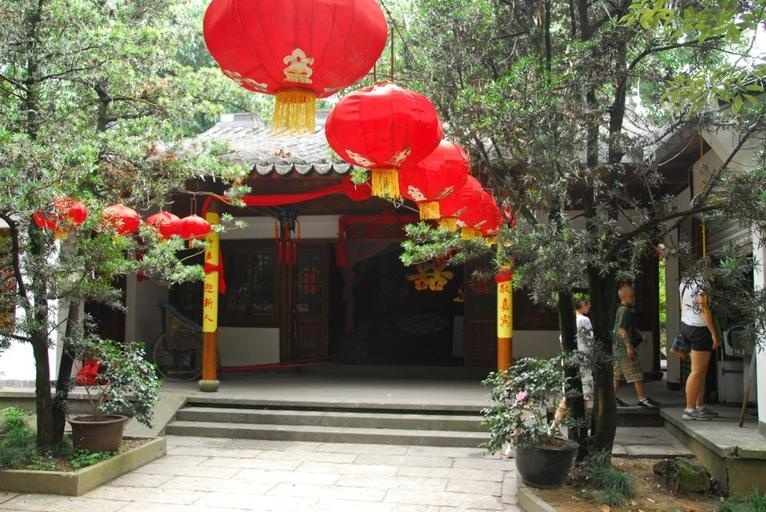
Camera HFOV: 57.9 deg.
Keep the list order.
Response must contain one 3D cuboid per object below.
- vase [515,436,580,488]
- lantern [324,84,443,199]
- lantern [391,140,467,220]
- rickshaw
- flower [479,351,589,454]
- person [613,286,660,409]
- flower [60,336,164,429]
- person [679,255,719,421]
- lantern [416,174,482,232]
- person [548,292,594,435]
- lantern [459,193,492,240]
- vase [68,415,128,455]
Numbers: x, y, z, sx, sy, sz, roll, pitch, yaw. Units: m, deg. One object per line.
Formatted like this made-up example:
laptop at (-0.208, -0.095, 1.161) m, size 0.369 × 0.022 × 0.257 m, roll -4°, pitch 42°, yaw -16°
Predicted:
vase at (1.756, 2.218, 7.390) m, size 0.665 × 0.545 × 0.449 m, roll -2°, pitch -8°, yaw 10°
lantern at (-0.061, -1.028, 6.377) m, size 1.010 × 1.043 × 0.985 m, roll 0°, pitch -9°, yaw -9°
lantern at (0.414, -0.731, 6.940) m, size 0.769 × 0.773 × 0.697 m, roll -2°, pitch -1°, yaw 1°
rickshaw at (-2.901, 1.518, 12.437) m, size 2.727 × 1.485 × 1.930 m, roll -2°, pitch -3°, yaw 11°
flower at (1.655, 1.619, 7.563) m, size 1.050 × 1.076 × 0.594 m, roll -1°, pitch -8°, yaw 4°
person at (3.476, 1.275, 9.639) m, size 0.548 × 1.654 × 0.616 m, roll 1°, pitch -4°, yaw -15°
flower at (-3.526, 1.674, 8.837) m, size 0.933 × 1.285 × 1.299 m, roll 2°, pitch 9°, yaw -23°
person at (4.066, 1.049, 8.849) m, size 0.499 × 2.030 × 0.669 m, roll 3°, pitch -13°, yaw 18°
lantern at (0.707, -0.539, 7.363) m, size 0.586 × 0.638 × 0.583 m, roll -1°, pitch 1°, yaw 0°
person at (2.451, 1.150, 8.733) m, size 0.681 × 2.071 × 0.633 m, roll 0°, pitch -6°, yaw -2°
lantern at (0.993, -0.395, 7.423) m, size 0.478 × 0.479 × 0.389 m, roll -1°, pitch 2°, yaw -21°
vase at (-3.467, 2.152, 8.344) m, size 0.622 × 0.440 × 0.444 m, roll 2°, pitch -8°, yaw -17°
